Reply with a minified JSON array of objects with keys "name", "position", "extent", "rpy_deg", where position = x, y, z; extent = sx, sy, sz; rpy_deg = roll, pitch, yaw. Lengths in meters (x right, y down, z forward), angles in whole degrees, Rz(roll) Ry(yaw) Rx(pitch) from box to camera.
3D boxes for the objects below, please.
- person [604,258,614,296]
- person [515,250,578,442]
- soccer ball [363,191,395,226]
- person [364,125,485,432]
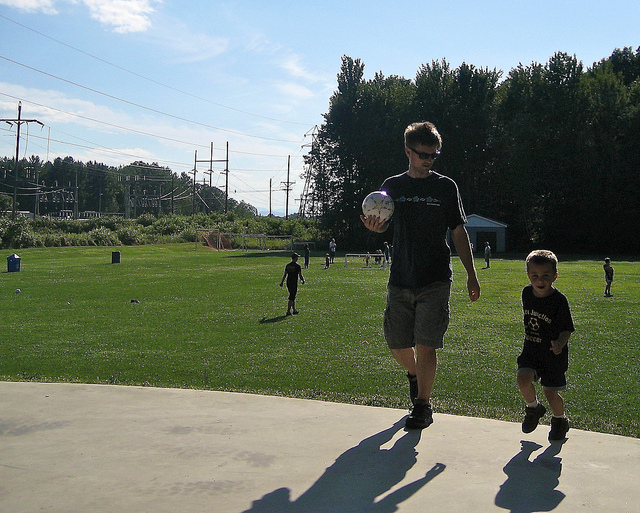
[{"name":"person","position":[8.874,0.651,17.252],"extent":[0.217,1.047,1.305],"rpy_deg":[1,1,27]},{"name":"person","position":[1.953,0.753,4.862],"extent":[0.441,1.598,0.381],"rpy_deg":[1,1,23]},{"name":"soccer ball","position":[0.555,-0.467,5.439],"extent":[0.181,0.324,0.368],"rpy_deg":[-1,2,-45]},{"name":"person","position":[0.990,0.131,5.200],"extent":[0.837,2.749,0.598],"rpy_deg":[1,1,6]}]
